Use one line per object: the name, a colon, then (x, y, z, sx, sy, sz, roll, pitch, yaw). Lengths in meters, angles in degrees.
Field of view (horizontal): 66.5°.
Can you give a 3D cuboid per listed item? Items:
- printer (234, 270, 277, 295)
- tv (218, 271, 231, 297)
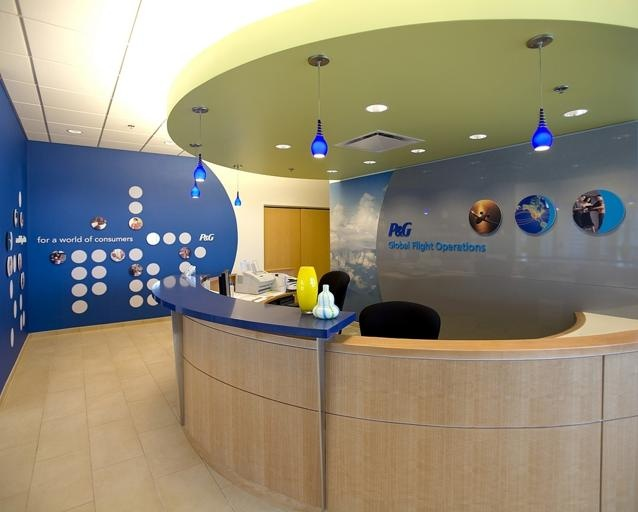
printer: (-0.772, 0.338, 5.895, 0.501, 0.291, 0.320, -9, 14, -11)
tv: (-1.007, 0.311, 5.164, 0.120, 0.280, 0.404, -9, 14, -13)
